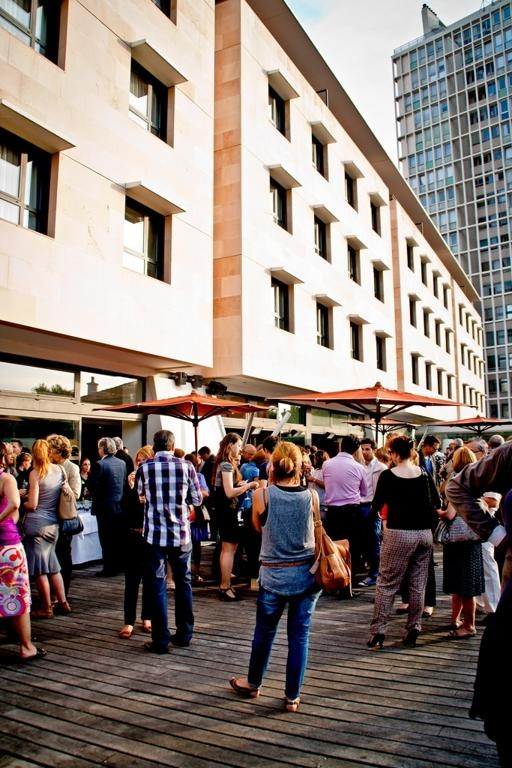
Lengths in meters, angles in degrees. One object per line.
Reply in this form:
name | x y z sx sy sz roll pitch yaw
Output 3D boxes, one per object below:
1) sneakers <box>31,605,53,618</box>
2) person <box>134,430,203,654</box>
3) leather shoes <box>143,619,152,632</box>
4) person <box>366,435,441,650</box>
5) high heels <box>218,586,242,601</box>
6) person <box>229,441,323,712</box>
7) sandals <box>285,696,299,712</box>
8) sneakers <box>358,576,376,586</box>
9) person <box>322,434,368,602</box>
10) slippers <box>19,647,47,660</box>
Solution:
sneakers | -2.263 2.420 6.481 0.219 0.094 0.104 6 -10 11
person | -0.768 1.380 5.451 0.588 1.923 0.339 8 -11 -44
leather shoes | -1.091 2.412 6.075 0.097 0.131 0.295 2 -20 -12
person | 1.289 1.406 5.444 0.622 1.876 0.429 -1 -8 8
high heels | -0.343 2.577 7.509 0.238 0.137 0.137 1 -6 18
person | 0.184 1.273 4.148 0.478 1.746 0.494 0 -8 -1
sandals | 0.223 2.100 3.999 0.043 0.055 0.125 5 -3 9
sneakers | 1.518 2.746 8.486 0.123 0.160 0.391 -8 -18 29
person | 1.153 1.683 7.923 0.575 2.055 0.590 1 12 14
slippers | -1.863 2.227 5.064 0.189 0.072 0.097 -3 4 -39
